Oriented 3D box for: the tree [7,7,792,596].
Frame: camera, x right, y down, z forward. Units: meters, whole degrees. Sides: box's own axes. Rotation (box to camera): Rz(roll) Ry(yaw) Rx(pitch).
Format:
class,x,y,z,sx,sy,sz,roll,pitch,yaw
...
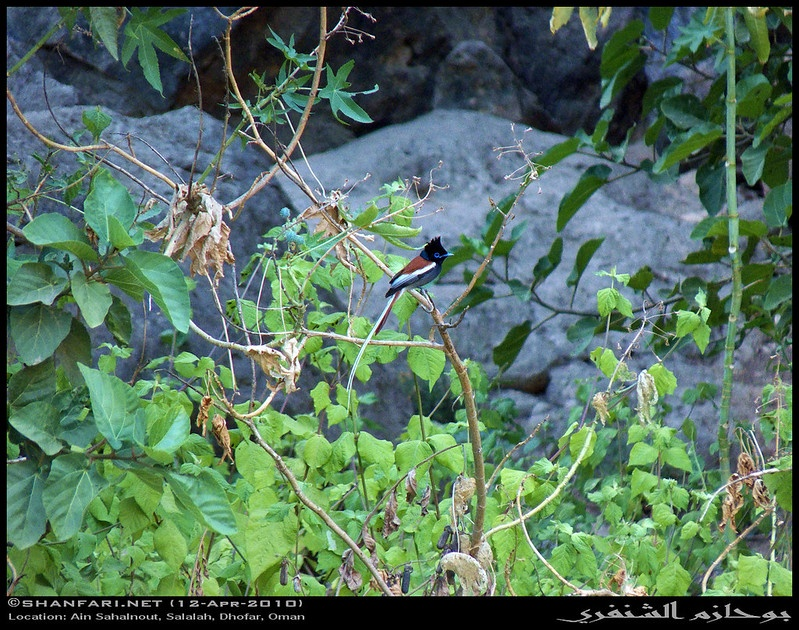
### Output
class,x,y,z,sx,sy,sz,roll,pitch,yaw
tree,0.016,-0.006,6.973,2.391,2.850,0.906,1,5,-11
